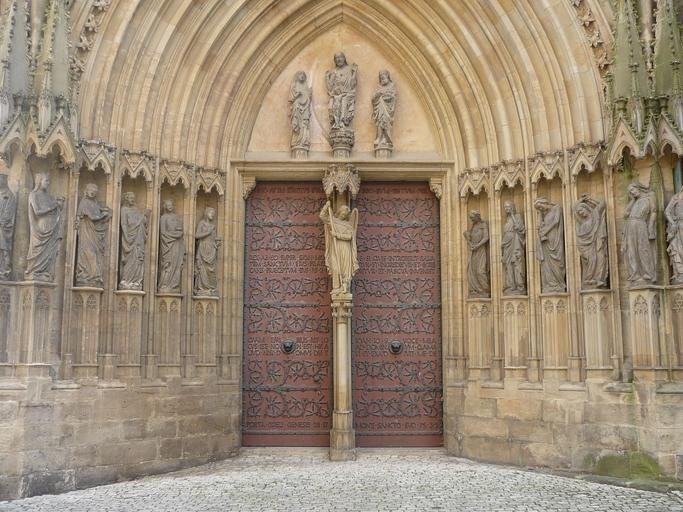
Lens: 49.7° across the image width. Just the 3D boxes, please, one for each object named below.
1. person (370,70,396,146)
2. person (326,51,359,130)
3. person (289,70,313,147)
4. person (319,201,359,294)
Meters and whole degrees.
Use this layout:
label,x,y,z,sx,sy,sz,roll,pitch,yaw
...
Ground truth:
label,x,y,z,sx,sy,sz,roll,pitch,yaw
person,0.860,-2.798,14.124,0.485,1.556,0.252,-1,-8,1
person,0.031,-3.140,14.123,0.581,1.517,0.252,-1,-8,-2
person,-0.765,-2.768,14.110,0.425,1.578,0.157,0,-8,-4
person,-0.016,-0.147,13.449,0.678,1.661,0.337,-1,-8,-1
